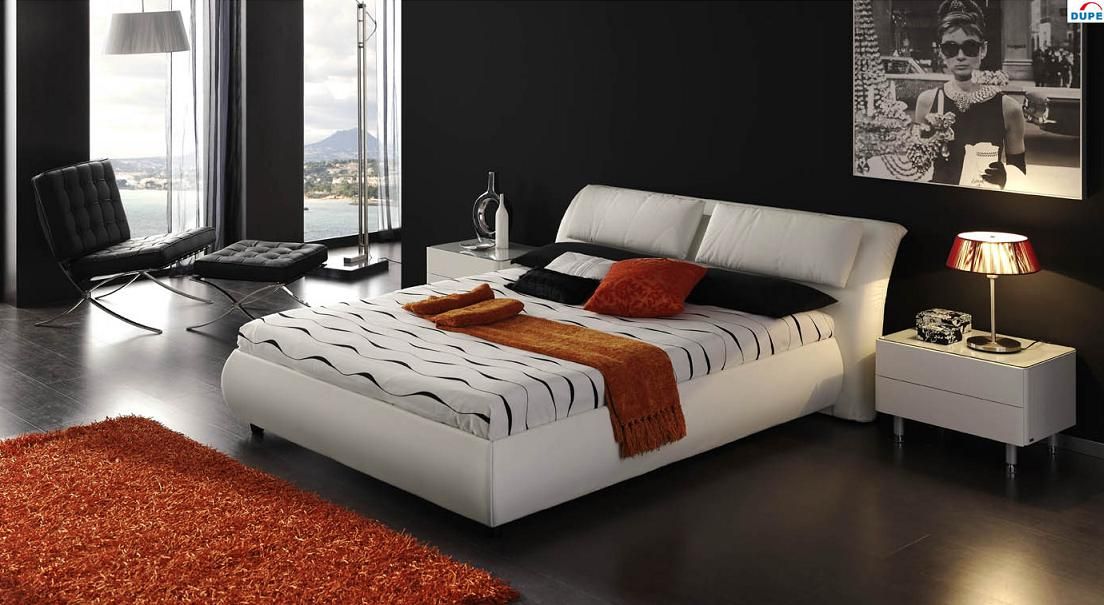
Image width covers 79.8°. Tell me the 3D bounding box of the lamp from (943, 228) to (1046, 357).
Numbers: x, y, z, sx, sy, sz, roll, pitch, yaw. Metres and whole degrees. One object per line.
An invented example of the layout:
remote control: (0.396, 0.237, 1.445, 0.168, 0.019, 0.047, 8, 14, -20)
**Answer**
lamp: (2.833, -0.084, 4.306, 0.489, 0.719, 0.520, 12, 20, 34)

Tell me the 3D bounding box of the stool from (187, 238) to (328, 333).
stool: (-2.791, -0.347, 6.214, 1.122, 0.597, 1.091, 9, 17, 29)

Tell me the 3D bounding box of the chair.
chair: (-4.038, -0.609, 6.411, 1.335, 1.198, 1.035, 12, 18, 3)

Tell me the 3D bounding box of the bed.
bed: (0.418, 0.374, 4.381, 3.134, 1.124, 2.733, -11, 17, -41)
